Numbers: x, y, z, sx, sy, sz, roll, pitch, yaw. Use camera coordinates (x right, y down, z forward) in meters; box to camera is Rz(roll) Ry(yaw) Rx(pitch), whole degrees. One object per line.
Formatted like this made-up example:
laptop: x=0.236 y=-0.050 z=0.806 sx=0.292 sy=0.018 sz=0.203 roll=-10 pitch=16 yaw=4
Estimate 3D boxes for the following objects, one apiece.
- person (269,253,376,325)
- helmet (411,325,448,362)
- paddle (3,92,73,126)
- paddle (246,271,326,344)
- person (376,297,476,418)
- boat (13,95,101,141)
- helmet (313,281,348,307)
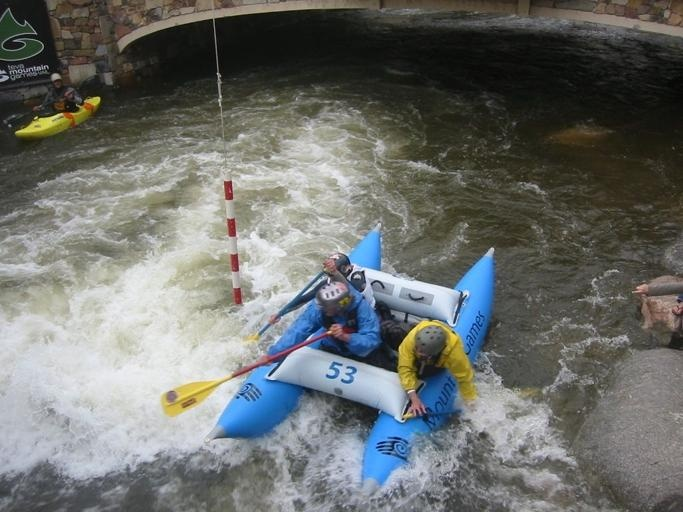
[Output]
person: x=-0.202 y=0.485 z=8.159 sx=0.963 sy=0.441 sz=1.358 roll=26 pitch=46 yaw=23
helmet: x=1.018 y=1.063 z=7.282 sx=0.358 sy=0.400 sz=0.418 roll=23 pitch=56 yaw=14
paddle: x=-7.096 y=-3.417 z=14.119 sx=1.422 sy=0.361 sz=0.584 roll=-37 pitch=47 yaw=-28
paddle: x=-0.826 y=0.776 z=8.657 sx=0.144 sy=1.519 sz=0.281 roll=57 pitch=17 yaw=8
person: x=1.020 y=1.273 z=7.483 sx=0.876 sy=0.698 sz=1.376 roll=-13 pitch=41 yaw=35
boat: x=-6.380 y=-3.061 z=13.936 sx=0.681 sy=0.482 sz=2.115 roll=23 pitch=42 yaw=22
helmet: x=-0.138 y=0.464 z=7.373 sx=0.365 sy=0.219 sz=0.300 roll=3 pitch=-5 yaw=-2
